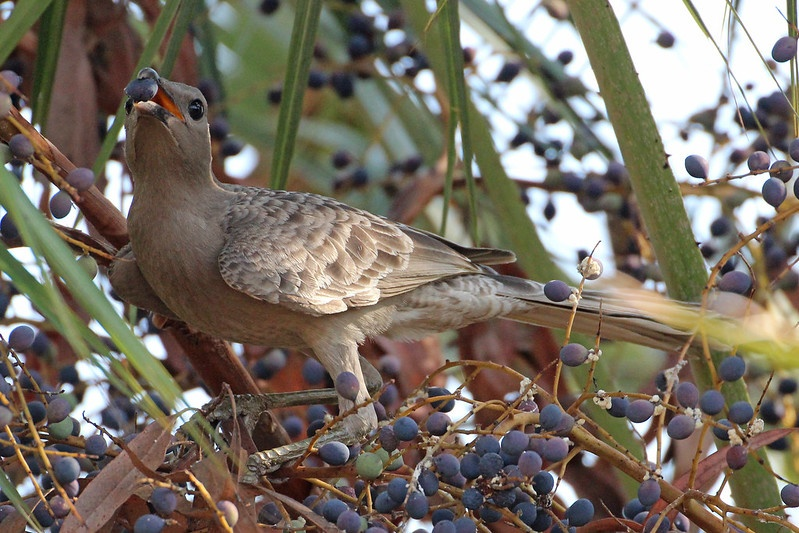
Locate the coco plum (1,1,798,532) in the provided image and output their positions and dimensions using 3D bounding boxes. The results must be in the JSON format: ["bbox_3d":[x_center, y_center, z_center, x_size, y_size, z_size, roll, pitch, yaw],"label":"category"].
[{"bbox_3d":[-0.547,0.085,3.670,1.276,1.291,1.185,-6,-1,-33],"label":"coco plum"}]
